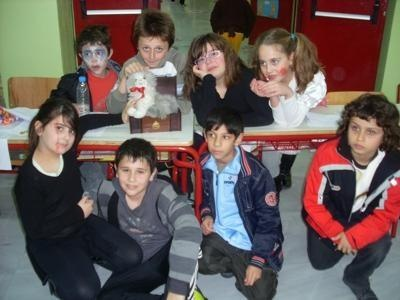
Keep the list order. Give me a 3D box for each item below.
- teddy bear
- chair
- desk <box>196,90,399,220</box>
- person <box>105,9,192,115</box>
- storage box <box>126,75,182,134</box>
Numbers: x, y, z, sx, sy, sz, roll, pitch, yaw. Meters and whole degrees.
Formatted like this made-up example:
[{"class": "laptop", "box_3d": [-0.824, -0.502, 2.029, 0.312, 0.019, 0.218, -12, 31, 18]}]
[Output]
[{"class": "teddy bear", "box_3d": [-0.295, -0.356, 2.293, 0.275, 0.324, 0.352, 17, 28, 37]}, {"class": "chair", "box_3d": [-1.422, -0.439, 3.008, 0.421, 0.295, 0.245, 1, 31, -8]}, {"class": "desk", "box_3d": [0.612, 0.024, 2.234, 0.835, 0.423, 0.569, -1, 29, 5]}, {"class": "person", "box_3d": [-0.429, -0.672, 2.652, 0.532, 0.720, 0.514, 4, 37, -1]}, {"class": "storage box", "box_3d": [-0.259, -0.290, 2.251, 0.337, 0.343, 0.348, -1, 31, 0]}]
